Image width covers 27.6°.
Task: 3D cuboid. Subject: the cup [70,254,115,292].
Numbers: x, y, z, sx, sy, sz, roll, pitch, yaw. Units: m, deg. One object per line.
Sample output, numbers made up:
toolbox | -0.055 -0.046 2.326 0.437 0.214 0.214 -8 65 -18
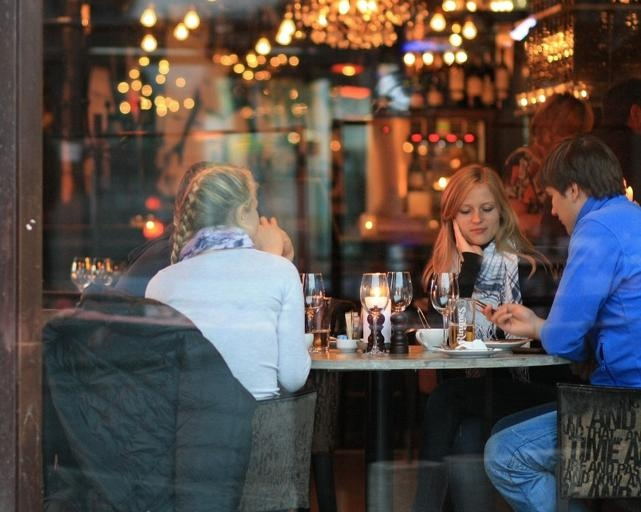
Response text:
cup | -0.824 0.053 4.705 0.177 0.180 0.107 0 1 -16
